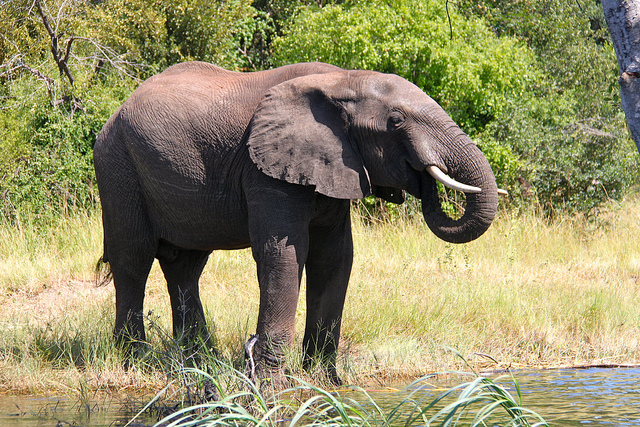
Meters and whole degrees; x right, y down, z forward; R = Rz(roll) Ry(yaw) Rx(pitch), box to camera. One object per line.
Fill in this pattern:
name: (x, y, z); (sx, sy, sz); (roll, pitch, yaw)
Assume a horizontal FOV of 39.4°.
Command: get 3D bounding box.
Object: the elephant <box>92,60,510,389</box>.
elephant: (-0.501, 0.229, 11.979); (5.260, 4.413, 2.623); (0, 5, 15)
